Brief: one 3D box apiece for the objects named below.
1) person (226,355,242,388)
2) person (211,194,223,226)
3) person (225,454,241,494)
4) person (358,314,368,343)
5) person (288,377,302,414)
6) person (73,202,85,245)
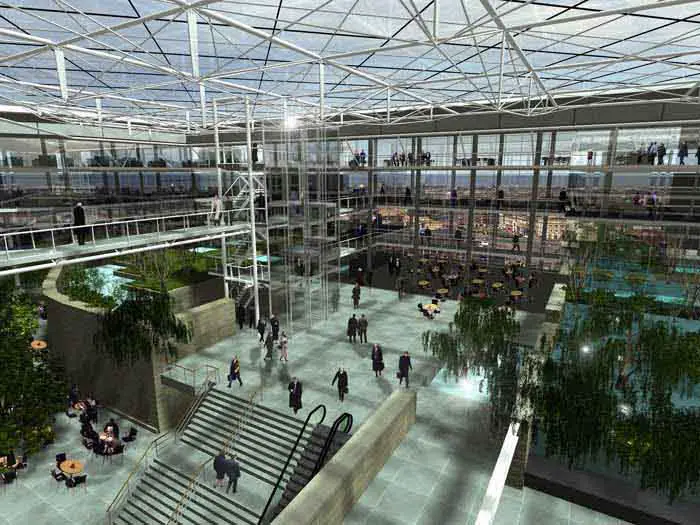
[{"bbox_3d":[-6.296,5.786,26.430,0.808,1.632,1.416,-4,13,-13],"label":"person"},{"bbox_3d":[-8.655,-3.334,31.577,0.776,1.673,1.207,-4,14,-14],"label":"person"},{"bbox_3d":[-5.304,9.542,21.926,0.590,1.716,0.787,-5,14,-15],"label":"person"},{"bbox_3d":[0.826,4.022,29.850,0.556,1.628,1.174,-1,13,1],"label":"person"},{"bbox_3d":[-2.656,6.347,23.665,0.659,1.948,0.860,-3,14,-8],"label":"person"},{"bbox_3d":[-13.425,-1.898,24.141,0.505,2.093,1.000,-8,16,-27],"label":"person"}]
